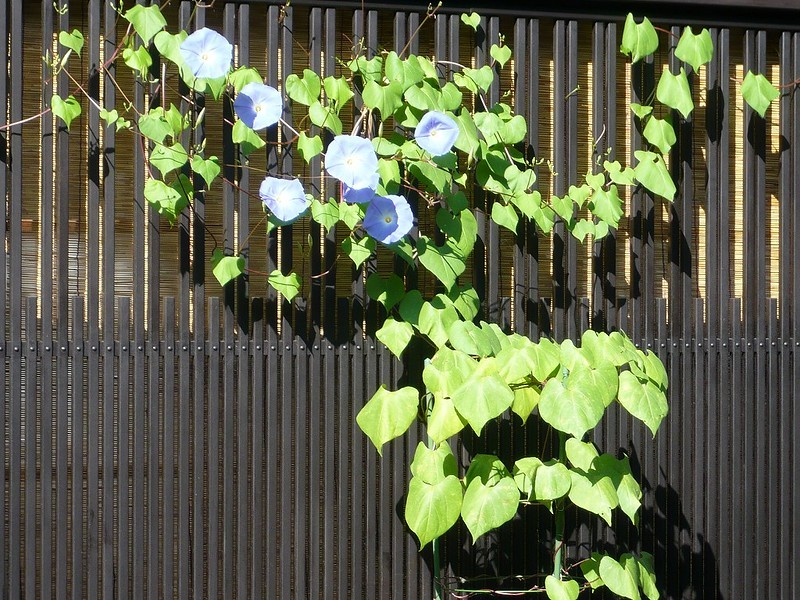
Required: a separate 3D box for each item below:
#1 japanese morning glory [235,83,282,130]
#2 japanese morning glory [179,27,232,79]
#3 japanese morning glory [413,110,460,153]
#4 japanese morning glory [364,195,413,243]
[{"bbox_3d":[-0.731,-1.000,10.612,0.241,0.239,0.142,3,-2,-3],"label":"japanese morning glory"},{"bbox_3d":[-0.994,-1.283,10.570,0.201,0.093,0.232,2,-16,-20],"label":"japanese morning glory"},{"bbox_3d":[0.173,-0.894,10.589,0.205,0.070,0.241,7,-11,-13],"label":"japanese morning glory"},{"bbox_3d":[-0.065,-0.414,10.579,0.204,0.251,0.182,5,-3,-37],"label":"japanese morning glory"}]
